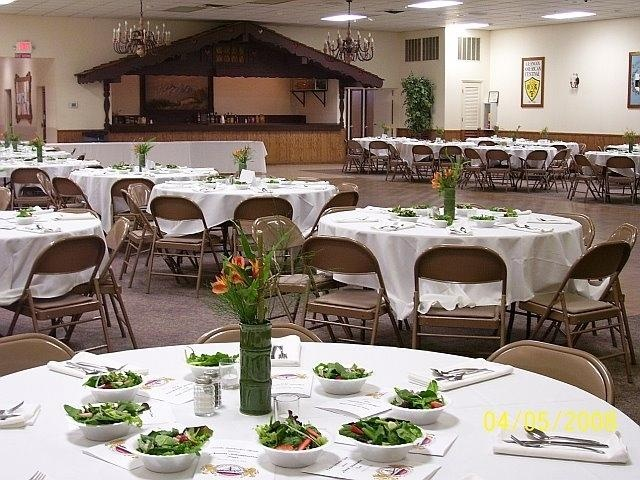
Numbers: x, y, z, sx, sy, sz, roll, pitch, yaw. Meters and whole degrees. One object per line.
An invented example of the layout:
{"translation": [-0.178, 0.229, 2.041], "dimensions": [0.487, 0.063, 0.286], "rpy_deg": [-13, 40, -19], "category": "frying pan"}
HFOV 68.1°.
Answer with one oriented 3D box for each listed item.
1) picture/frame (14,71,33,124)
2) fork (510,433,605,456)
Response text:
{"translation": [-11.542, -5.485, 18.235], "dimensions": [1.743, 1.844, 0.139], "rpy_deg": [14, 14, 39], "category": "picture/frame"}
{"translation": [0.593, 0.507, 1.191], "dimensions": [0.222, 0.031, 0.067], "rpy_deg": [1, 5, 14], "category": "fork"}
